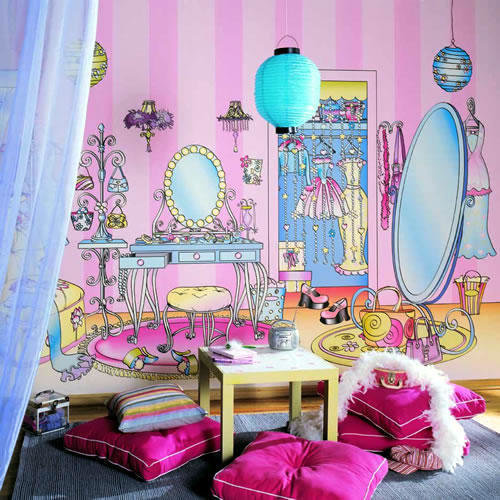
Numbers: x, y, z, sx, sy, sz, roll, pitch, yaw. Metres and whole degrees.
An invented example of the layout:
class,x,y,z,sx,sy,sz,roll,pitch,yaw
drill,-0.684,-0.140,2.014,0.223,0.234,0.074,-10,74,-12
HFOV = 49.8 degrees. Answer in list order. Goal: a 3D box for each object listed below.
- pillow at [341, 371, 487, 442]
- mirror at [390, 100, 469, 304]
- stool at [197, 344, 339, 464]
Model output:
class,x,y,z,sx,sy,sz,roll,pitch,yaw
pillow,0.788,0.748,2.587,0.333,0.119,0.352,-1,1,-32
mirror,1.295,-0.341,3.908,0.544,1.444,0.045,1,2,-10
stool,0.079,0.784,2.781,0.532,0.397,0.746,0,-11,-10
